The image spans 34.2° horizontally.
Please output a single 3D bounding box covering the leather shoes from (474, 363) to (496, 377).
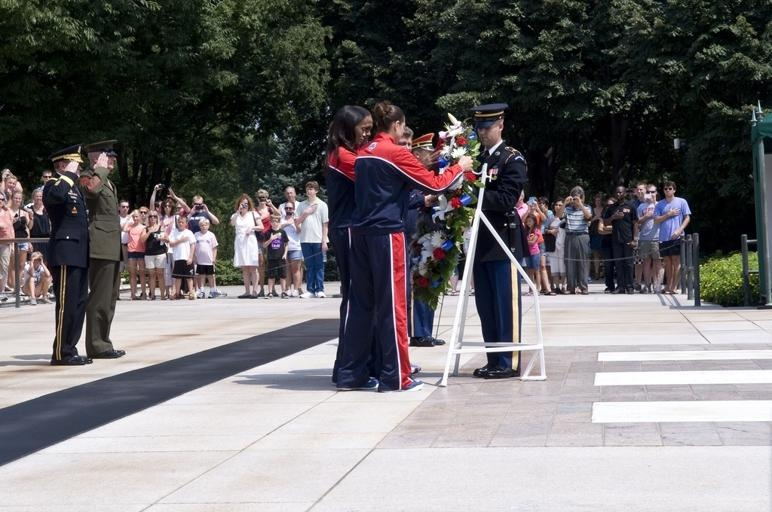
[{"bbox_3d":[1.375,1.601,17.280,0.314,0.116,0.127,0,-3,22],"label":"leather shoes"}]

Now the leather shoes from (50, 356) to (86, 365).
[{"bbox_3d":[-4.676,1.557,18.594,0.365,0.091,0.201,-1,-4,3],"label":"leather shoes"}]

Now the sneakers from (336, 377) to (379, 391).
[{"bbox_3d":[-0.392,1.707,16.834,0.585,0.212,0.197,-2,-3,-11],"label":"sneakers"}]

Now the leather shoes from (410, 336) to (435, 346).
[{"bbox_3d":[0.585,1.328,19.542,0.308,0.103,0.161,0,-1,-1],"label":"leather shoes"}]

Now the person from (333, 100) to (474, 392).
[{"bbox_3d":[0.047,-0.097,16.608,1.132,3.750,1.492,8,19,33],"label":"person"}]

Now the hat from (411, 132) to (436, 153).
[{"bbox_3d":[0.580,-1.715,18.860,0.357,0.234,0.442,-2,4,-43],"label":"hat"}]

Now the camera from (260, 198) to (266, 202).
[{"bbox_3d":[-2.801,-1.277,28.587,0.132,0.110,0.063,1,-12,-6],"label":"camera"}]

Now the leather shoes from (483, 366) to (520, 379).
[{"bbox_3d":[1.603,1.601,17.224,0.476,0.161,0.173,4,-6,-4],"label":"leather shoes"}]

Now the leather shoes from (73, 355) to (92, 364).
[{"bbox_3d":[-4.518,1.538,18.614,0.238,0.072,0.121,-1,1,-1],"label":"leather shoes"}]
